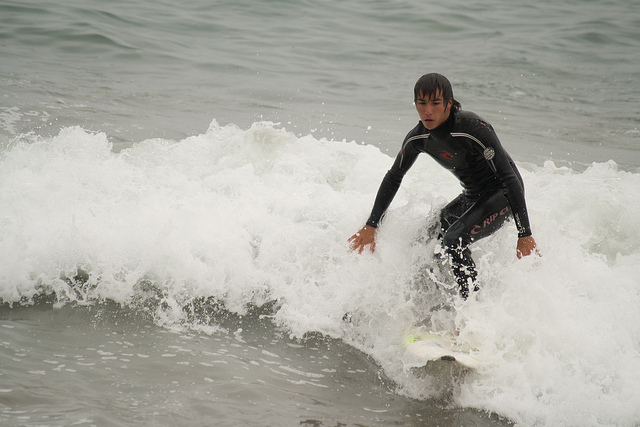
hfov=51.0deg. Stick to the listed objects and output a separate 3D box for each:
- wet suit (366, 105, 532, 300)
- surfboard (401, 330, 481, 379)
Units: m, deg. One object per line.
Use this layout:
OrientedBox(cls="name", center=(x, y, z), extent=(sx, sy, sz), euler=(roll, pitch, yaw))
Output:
OrientedBox(cls="wet suit", center=(1.369, -0.177, 6.635), extent=(1.533, 1.725, 0.572), euler=(14, 16, 16))
OrientedBox(cls="surfboard", center=(1.149, 1.298, 6.277), extent=(0.477, 0.078, 0.438), euler=(19, 21, 24))
